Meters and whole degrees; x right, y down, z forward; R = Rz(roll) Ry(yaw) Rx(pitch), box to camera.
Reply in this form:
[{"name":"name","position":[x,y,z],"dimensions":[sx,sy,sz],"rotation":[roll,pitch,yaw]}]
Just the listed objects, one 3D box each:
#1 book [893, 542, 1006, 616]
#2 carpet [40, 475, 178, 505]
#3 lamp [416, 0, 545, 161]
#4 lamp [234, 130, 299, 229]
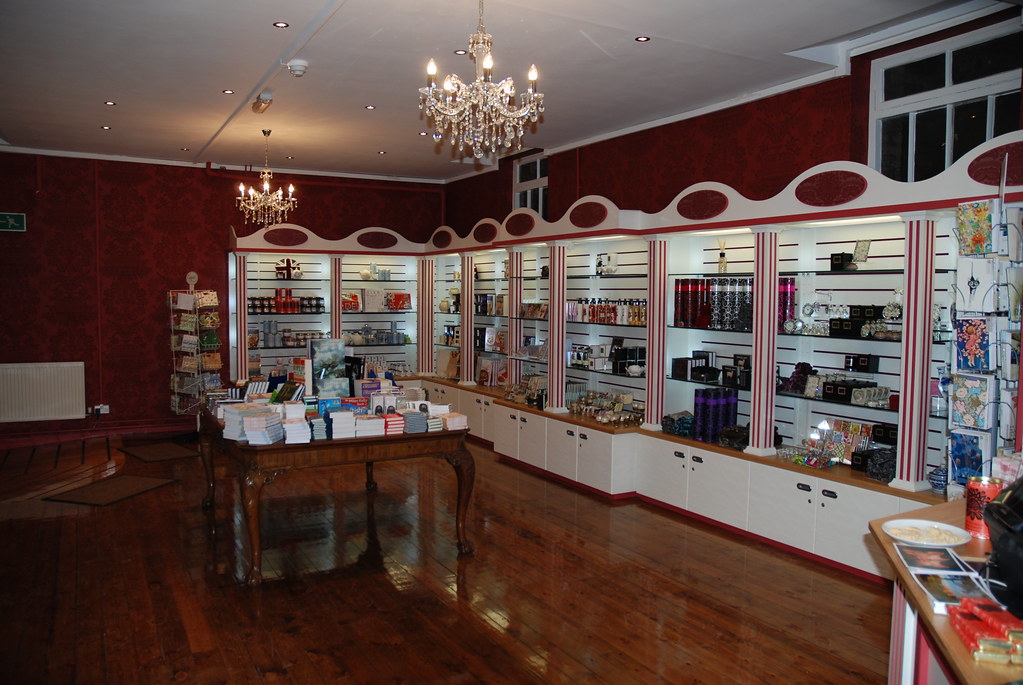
[{"name":"book","position":[2.695,1.451,4.263],"dimensions":[0.504,0.111,0.529],"rotation":[2,21,0]},{"name":"carpet","position":[-5.088,1.866,8.916],"dimensions":[0.976,0.098,1.207],"rotation":[6,14,24]},{"name":"lamp","position":[-0.288,-2.580,6.680],"dimensions":[1.243,1.881,1.245],"rotation":[0,3,-4]},{"name":"lamp","position":[-3.916,-2.616,11.070],"dimensions":[1.125,1.840,0.976],"rotation":[0,0,-21]}]
